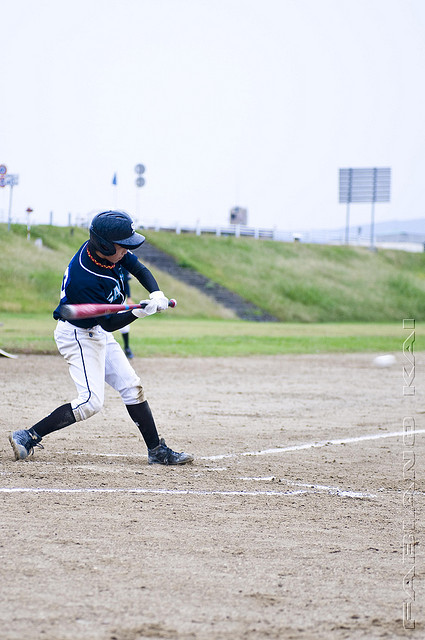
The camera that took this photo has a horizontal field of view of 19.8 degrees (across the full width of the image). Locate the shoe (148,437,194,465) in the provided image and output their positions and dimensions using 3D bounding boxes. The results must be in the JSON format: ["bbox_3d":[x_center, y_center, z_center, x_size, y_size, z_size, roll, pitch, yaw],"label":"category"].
[{"bbox_3d":[-0.224,0.703,6.300,0.252,0.142,0.098,0,1,-3],"label":"shoe"}]

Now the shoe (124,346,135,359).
[{"bbox_3d":[-0.858,0.350,12.486,0.044,0.129,0.055,-31,-26,-9],"label":"shoe"}]

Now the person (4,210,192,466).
[{"bbox_3d":[-0.556,0.110,6.063,0.635,1.292,0.637,6,7,37],"label":"person"}]
